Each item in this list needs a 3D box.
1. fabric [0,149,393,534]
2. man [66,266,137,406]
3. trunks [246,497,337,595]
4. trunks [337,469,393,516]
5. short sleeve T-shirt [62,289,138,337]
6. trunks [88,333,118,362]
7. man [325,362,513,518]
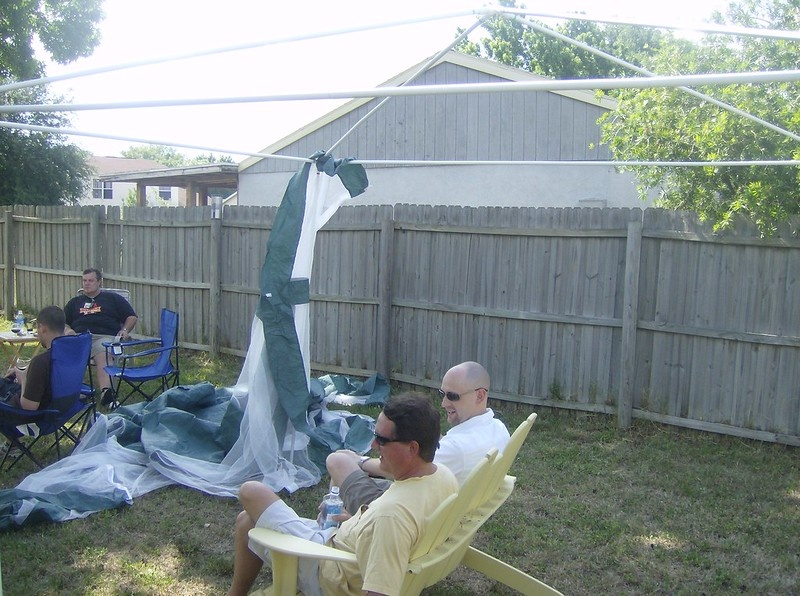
[{"bbox_3d":[-1.766,0.086,5.982,2.419,2.966,3.758,8,7,18],"label":"fabric"},{"bbox_3d":[-3.476,0.481,7.742,0.795,1.816,1.445,-4,-37,-21],"label":"man"},{"bbox_3d":[-0.616,1.432,3.855,0.470,0.190,0.467,0,10,-22],"label":"trunks"},{"bbox_3d":[-0.233,1.257,4.354,0.242,0.118,0.267,-22,27,-34],"label":"trunks"},{"bbox_3d":[-3.785,0.202,8.208,0.826,0.644,0.456,-2,14,-16],"label":"short sleeve T-shirt"},{"bbox_3d":[-3.546,0.585,7.805,0.242,0.415,0.168,2,4,10],"label":"trunks"},{"bbox_3d":[0.237,0.964,4.693,1.050,1.354,0.887,2,-3,25],"label":"man"}]
